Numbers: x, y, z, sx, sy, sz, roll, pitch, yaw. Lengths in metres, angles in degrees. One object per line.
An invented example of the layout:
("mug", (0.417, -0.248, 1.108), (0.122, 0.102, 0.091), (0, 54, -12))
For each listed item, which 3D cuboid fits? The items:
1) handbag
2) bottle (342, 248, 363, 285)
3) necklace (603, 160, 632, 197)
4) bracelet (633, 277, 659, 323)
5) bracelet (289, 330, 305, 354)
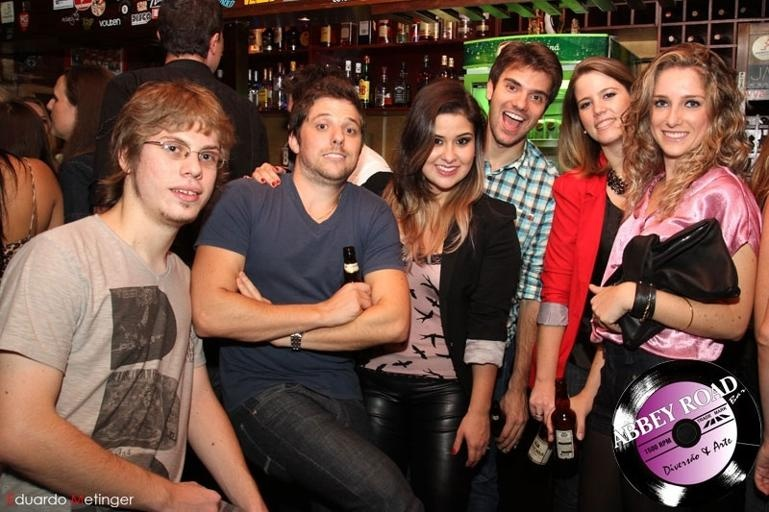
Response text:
("handbag", (1.116, 0.068, 2.358), (0.494, 0.205, 0.422), (-25, 23, 27))
("bottle", (-0.142, 0.042, 2.512), (0.081, 0.202, 0.086), (-9, 20, 3))
("necklace", (1.157, -0.385, 2.963), (0.135, 0.035, 0.099), (54, 14, 21))
("bracelet", (1.015, 0.182, 2.366), (0.136, 0.134, 0.109), (5, -11, 13))
("bracelet", (-0.359, 0.351, 2.399), (0.054, 0.082, 0.075), (3, -2, 8))
